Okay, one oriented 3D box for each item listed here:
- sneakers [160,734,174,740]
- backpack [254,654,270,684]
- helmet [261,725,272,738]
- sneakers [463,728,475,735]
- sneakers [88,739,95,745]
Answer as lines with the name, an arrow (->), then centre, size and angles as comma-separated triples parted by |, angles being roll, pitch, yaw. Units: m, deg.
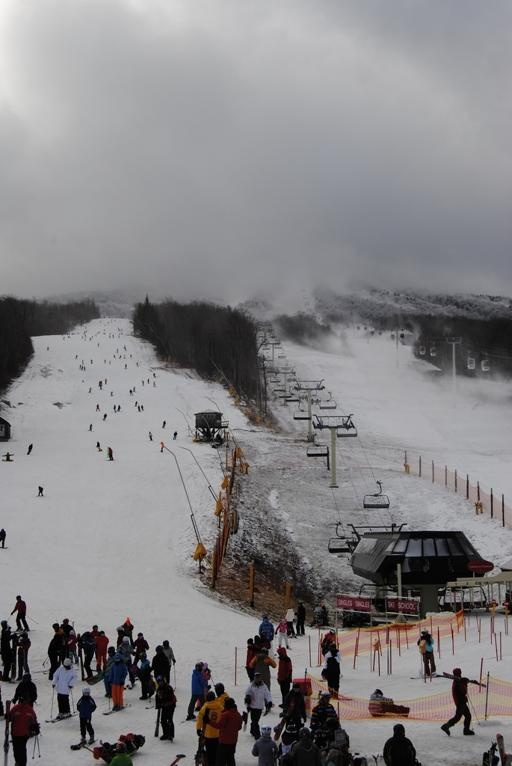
sneakers -> -1.438, 5.756, 15.870 | 0.236, 0.095, 0.103 | 25, -32, -32
backpack -> 0.100, 5.072, 17.146 | 0.272, 0.715, 0.601 | 2, 4, -1
helmet -> 0.133, 4.628, 13.010 | 0.133, 0.214, 0.249 | 2, 4, -4
sneakers -> 3.323, 5.467, 15.373 | 0.174, 0.084, 0.242 | 4, 4, 12
sneakers -> -2.619, 5.719, 15.621 | 0.090, 0.046, 0.174 | 2, 4, -5
